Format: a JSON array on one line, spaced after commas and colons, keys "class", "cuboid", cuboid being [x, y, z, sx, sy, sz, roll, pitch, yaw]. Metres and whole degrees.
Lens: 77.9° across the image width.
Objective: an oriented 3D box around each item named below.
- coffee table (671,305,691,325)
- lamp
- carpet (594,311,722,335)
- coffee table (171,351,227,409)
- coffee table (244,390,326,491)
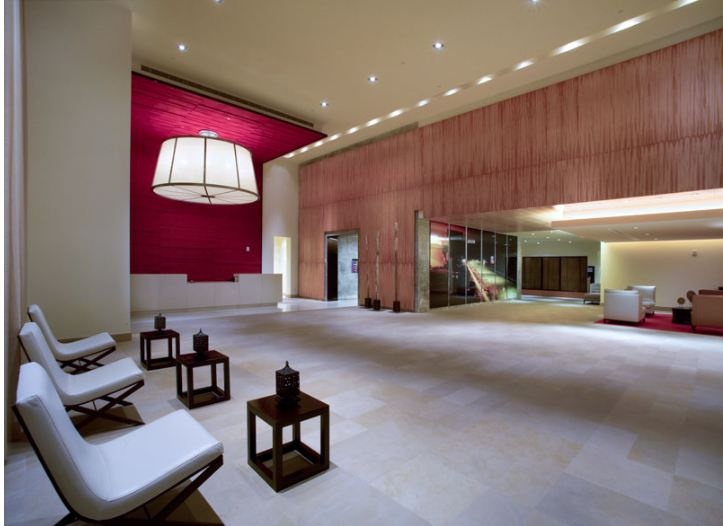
[{"class": "coffee table", "cuboid": [8.343, 1.360, 11.599, 0.623, 0.477, 0.364, 2, -1, -37]}, {"class": "lamp", "cuboid": [-3.142, -1.659, 8.158, 1.467, 0.757, 1.542, -3, -1, 26]}, {"class": "carpet", "cuboid": [7.483, 1.522, 10.862, 2.398, 0.145, 2.300, 0, 2, -25]}, {"class": "coffee table", "cuboid": [-2.170, 1.540, 5.934, 0.675, 0.723, 0.689, -1, 3, -21]}, {"class": "coffee table", "cuboid": [-0.807, 1.793, 4.670, 0.758, 0.707, 0.771, -2, 5, -29]}]
